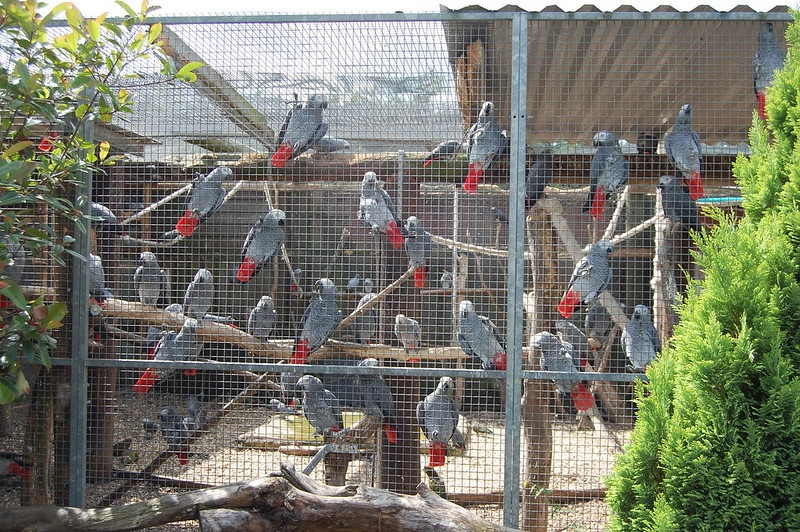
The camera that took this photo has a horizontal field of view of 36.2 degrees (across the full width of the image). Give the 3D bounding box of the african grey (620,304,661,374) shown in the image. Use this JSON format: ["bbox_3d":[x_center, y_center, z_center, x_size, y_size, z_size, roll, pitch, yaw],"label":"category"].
[{"bbox_3d":[2.141,0.630,10.898,0.339,0.594,0.410,0,-4,10],"label":"african grey"}]

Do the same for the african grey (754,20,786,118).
[{"bbox_3d":[3.060,-1.626,10.132,0.280,0.888,0.526,2,17,16],"label":"african grey"}]

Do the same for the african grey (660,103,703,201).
[{"bbox_3d":[2.520,-1.003,10.864,0.290,0.840,0.486,-15,8,-18],"label":"african grey"}]
